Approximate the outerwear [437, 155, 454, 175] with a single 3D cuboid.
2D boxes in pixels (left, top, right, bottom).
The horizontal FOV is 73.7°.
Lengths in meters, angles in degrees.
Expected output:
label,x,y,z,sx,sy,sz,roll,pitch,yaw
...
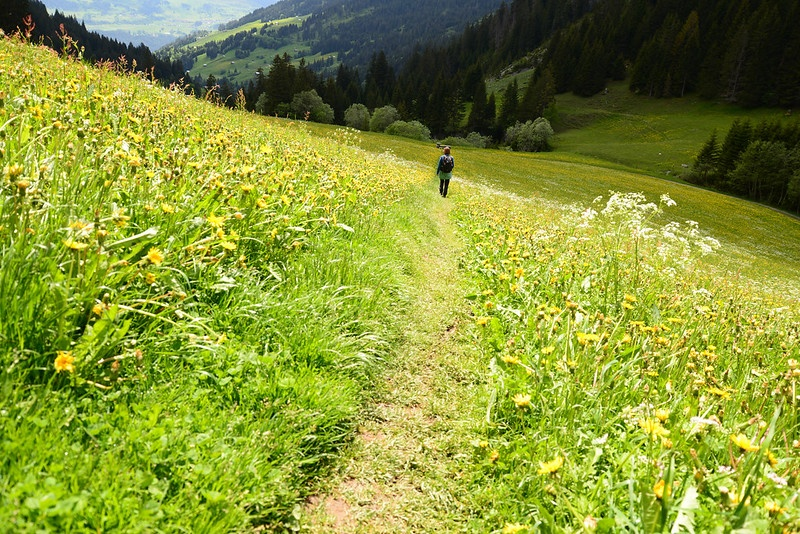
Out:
label,x,y,z,sx,sy,sz,roll,pitch,yaw
outerwear,1.910,-4.086,21.209,0.579,0.792,0.782,-1,16,-5
